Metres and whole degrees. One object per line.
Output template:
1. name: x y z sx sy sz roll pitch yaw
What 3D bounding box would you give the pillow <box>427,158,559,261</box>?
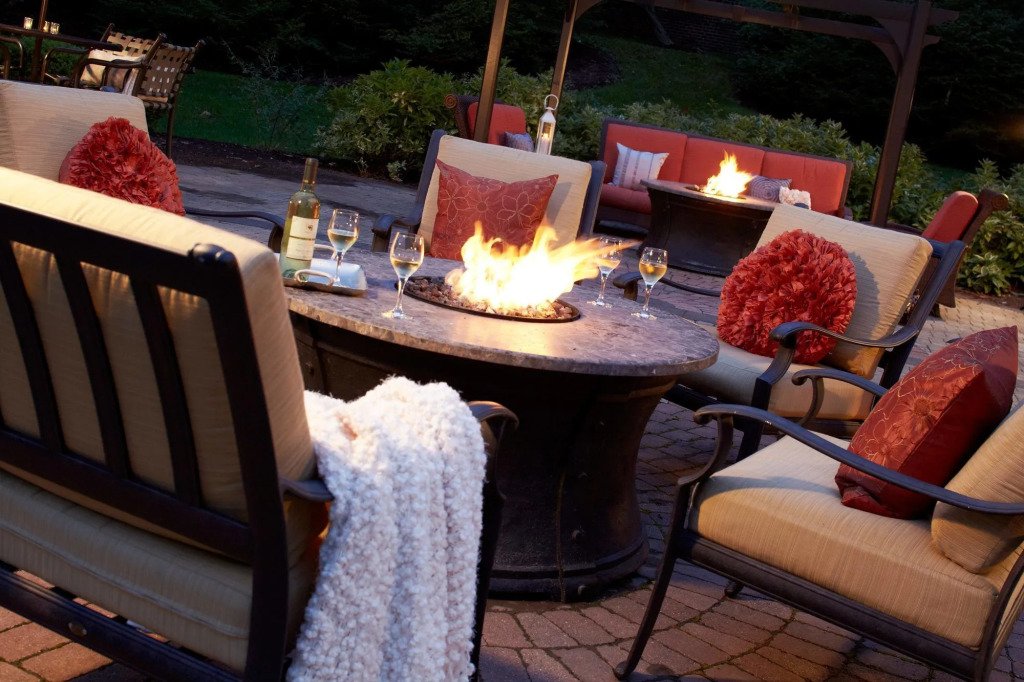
1. pillow: -0.090 -0.706 4.471 0.613 0.593 0.240 10 -6 9

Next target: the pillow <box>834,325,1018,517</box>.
1. pillow: 1.379 0.269 2.767 0.478 0.644 0.881 12 20 26

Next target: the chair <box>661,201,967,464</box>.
1. chair: 1.473 -0.042 4.527 1.438 1.387 1.260 -9 18 -35

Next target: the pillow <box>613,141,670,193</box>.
1. pillow: 1.730 -2.395 11.328 0.714 0.561 0.582 13 18 4

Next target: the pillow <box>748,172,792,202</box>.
1. pillow: 3.345 -2.002 10.737 0.514 0.162 0.500 13 43 25
